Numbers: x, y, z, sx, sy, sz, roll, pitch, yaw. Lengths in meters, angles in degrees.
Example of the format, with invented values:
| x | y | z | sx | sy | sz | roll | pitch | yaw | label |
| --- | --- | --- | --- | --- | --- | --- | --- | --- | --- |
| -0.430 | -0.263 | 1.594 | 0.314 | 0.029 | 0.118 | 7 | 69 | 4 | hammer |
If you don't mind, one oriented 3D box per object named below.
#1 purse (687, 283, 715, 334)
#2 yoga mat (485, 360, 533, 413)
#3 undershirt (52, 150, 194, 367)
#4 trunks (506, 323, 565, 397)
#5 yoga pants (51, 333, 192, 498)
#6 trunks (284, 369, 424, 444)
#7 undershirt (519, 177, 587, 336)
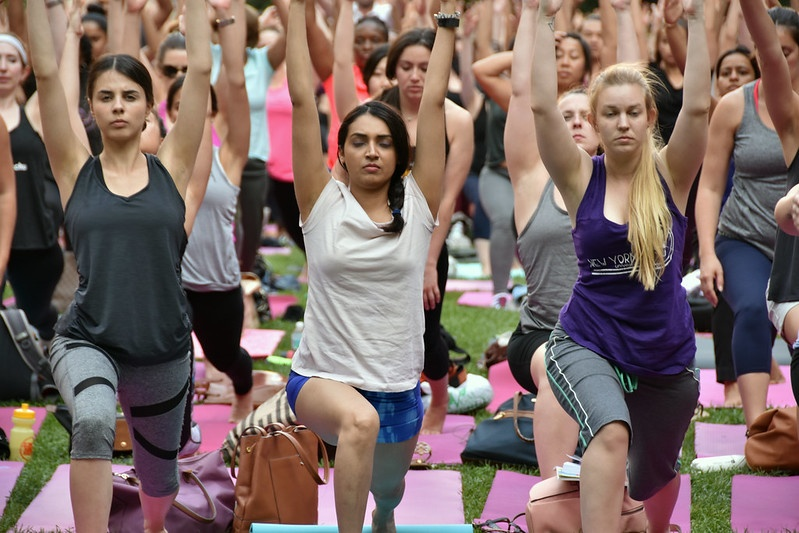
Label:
| x | y | z | sx | sy | sz | roll | pitch | yaw | label |
| --- | --- | --- | --- | --- | --- | --- | --- | --- | --- |
| 2.668 | 0.412 | 9.417 | 0.262 | 0.244 | 0.307 | -2 | 23 | -2 | purse |
| 0.972 | 1.017 | 8.803 | 0.373 | 0.389 | 0.275 | 17 | 41 | 21 | yoga mat |
| -1.537 | -0.022 | 5.840 | 0.693 | 1.145 | 0.309 | -6 | 7 | -15 | undershirt |
| 0.821 | 0.602 | 6.689 | 0.228 | 0.445 | 0.153 | -6 | 17 | -31 | trunks |
| -1.475 | 0.865 | 5.991 | 0.827 | 1.417 | 0.809 | 0 | -6 | -11 | yoga pants |
| -0.166 | 0.806 | 5.925 | 0.484 | 0.192 | 0.499 | 16 | 3 | -11 | trunks |
| 0.987 | -0.090 | 6.699 | 0.413 | 0.950 | 0.349 | 3 | 1 | 5 | undershirt |
